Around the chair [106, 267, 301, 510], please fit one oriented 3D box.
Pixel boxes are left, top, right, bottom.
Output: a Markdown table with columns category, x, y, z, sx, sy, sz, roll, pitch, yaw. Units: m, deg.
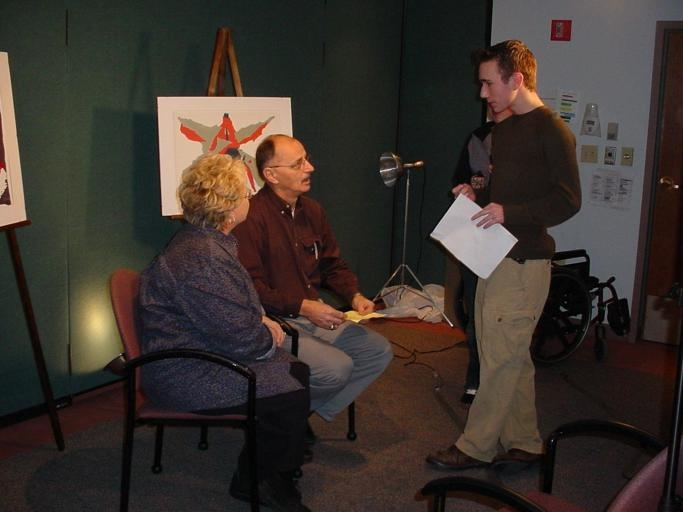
| category | x | y | z | sx | sy | sz | roll | pitch | yaw |
| --- | --- | --- | --- | --- | --- | --- | --- | --- | --- |
| chair | -0.777 | 0.609 | 2.662 | 0.560 | 1.092 | 0.854 | -11 | 15 | -44 |

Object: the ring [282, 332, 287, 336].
| category | x | y | z | sx | sy | sz | roll | pitch | yaw |
| --- | --- | --- | --- | --- | --- | --- | --- | --- | --- |
| ring | -0.290 | 0.376 | 2.915 | 0.027 | 0.026 | 0.024 | -1 | -5 | 13 |

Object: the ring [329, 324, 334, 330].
| category | x | y | z | sx | sy | sz | roll | pitch | yaw |
| --- | --- | --- | --- | --- | --- | --- | --- | --- | --- |
| ring | -0.063 | 0.360 | 3.054 | 0.010 | 0.027 | 0.023 | 7 | 19 | -12 |

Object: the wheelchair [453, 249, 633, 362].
| category | x | y | z | sx | sy | sz | roll | pitch | yaw |
| --- | --- | --- | --- | --- | --- | --- | --- | --- | --- |
| wheelchair | 1.718 | 0.363 | 4.511 | 0.846 | 0.684 | 0.645 | 0 | -2 | 14 |

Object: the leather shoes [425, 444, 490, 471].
| category | x | y | z | sx | sy | sz | roll | pitch | yaw |
| --- | --- | --- | --- | --- | --- | --- | --- | --- | --- |
| leather shoes | 0.554 | 1.024 | 3.036 | 0.343 | 0.148 | 0.123 | 4 | -3 | 4 |
